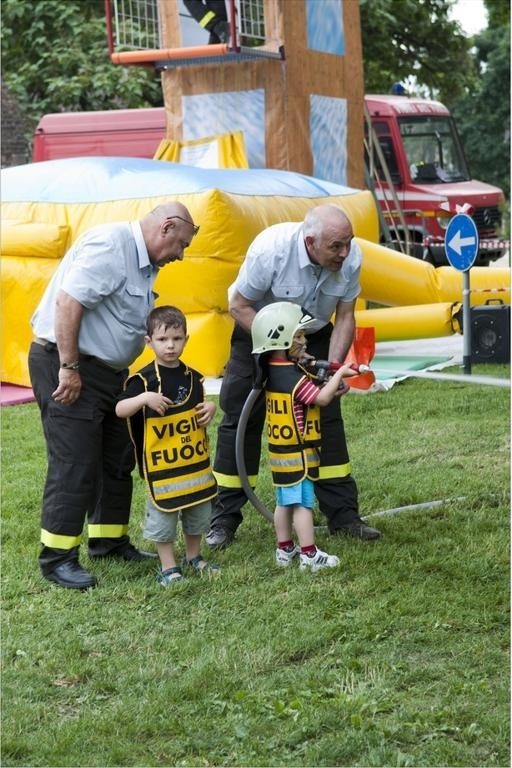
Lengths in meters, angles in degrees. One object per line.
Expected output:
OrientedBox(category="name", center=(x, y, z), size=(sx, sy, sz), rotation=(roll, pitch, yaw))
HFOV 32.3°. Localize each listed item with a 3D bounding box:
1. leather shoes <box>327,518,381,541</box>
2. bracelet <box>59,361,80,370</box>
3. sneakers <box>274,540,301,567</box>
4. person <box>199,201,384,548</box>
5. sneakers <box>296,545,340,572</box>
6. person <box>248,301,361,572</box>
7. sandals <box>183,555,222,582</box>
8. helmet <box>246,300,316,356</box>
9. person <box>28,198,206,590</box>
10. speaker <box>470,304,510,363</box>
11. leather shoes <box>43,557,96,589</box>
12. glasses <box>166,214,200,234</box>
OrientedBox(category="leather shoes", center=(0.472, 0.685, 4.185), size=(0.248, 0.092, 0.088), rotation=(0, 3, 24))
OrientedBox(category="bracelet", center=(-0.729, -0.071, 3.517), size=(0.041, 0.037, 0.040), rotation=(0, 16, -21))
OrientedBox(category="sneakers", center=(0.138, 0.737, 3.829), size=(0.050, 0.063, 0.146), rotation=(5, 15, 24))
OrientedBox(category="person", center=(0.188, -0.017, 4.108), size=(0.747, 1.583, 0.677), rotation=(7, 16, 25))
OrientedBox(category="sneakers", center=(0.267, 0.742, 3.754), size=(0.195, 0.086, 0.073), rotation=(-3, 9, -10))
OrientedBox(category="person", center=(0.212, 0.227, 3.695), size=(0.423, 1.133, 0.235), rotation=(1, 9, 19))
OrientedBox(category="sandals", center=(-0.229, 0.792, 3.755), size=(0.180, 0.067, 0.067), rotation=(-2, 4, 38))
OrientedBox(category="helmet", center=(0.100, -0.237, 3.660), size=(0.260, 0.190, 0.183), rotation=(-8, 18, 1))
OrientedBox(category="person", center=(-0.618, 0.044, 3.718), size=(0.665, 1.560, 0.456), rotation=(-4, 9, -15))
OrientedBox(category="speaker", center=(2.238, -0.458, 8.484), size=(0.348, 0.580, 0.313), rotation=(0, 9, 11))
OrientedBox(category="leather shoes", center=(-0.772, 0.780, 3.668), size=(0.217, 0.086, 0.100), rotation=(5, 7, 25))
OrientedBox(category="glasses", center=(-0.306, -0.659, 3.546), size=(0.099, 0.028, 0.101), rotation=(22, 1, 35))
